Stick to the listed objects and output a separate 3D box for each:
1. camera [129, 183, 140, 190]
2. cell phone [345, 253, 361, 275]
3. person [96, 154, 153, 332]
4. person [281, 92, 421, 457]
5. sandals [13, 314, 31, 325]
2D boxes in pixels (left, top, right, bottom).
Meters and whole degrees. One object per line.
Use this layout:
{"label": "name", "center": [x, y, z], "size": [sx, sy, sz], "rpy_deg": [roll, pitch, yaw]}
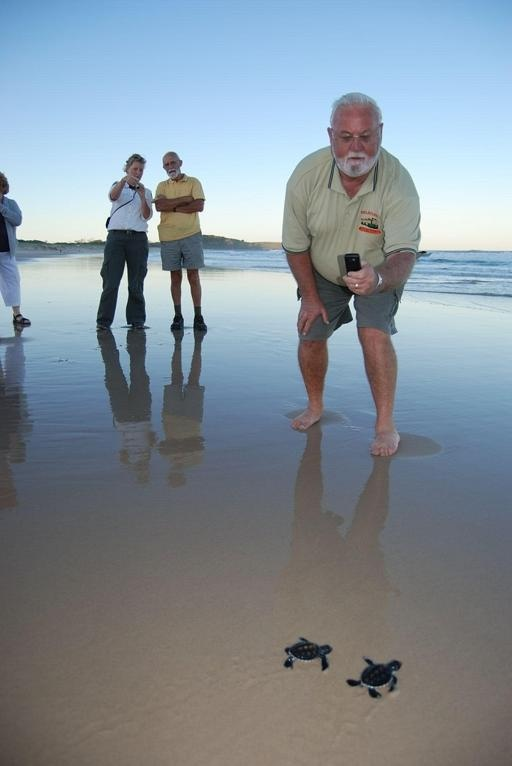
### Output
{"label": "camera", "center": [-1.219, -1.980, 6.139], "size": [0.084, 0.035, 0.070], "rpy_deg": [5, 6, -5]}
{"label": "cell phone", "center": [0.394, -0.485, 2.487], "size": [0.075, 0.077, 0.064], "rpy_deg": [6, 15, 21]}
{"label": "person", "center": [-1.321, -1.448, 6.221], "size": [0.560, 1.773, 0.595], "rpy_deg": [1, 5, -21]}
{"label": "person", "center": [0.452, -0.514, 2.883], "size": [0.566, 1.537, 0.856], "rpy_deg": [-3, 14, -13]}
{"label": "sandals", "center": [-2.433, -0.659, 6.348], "size": [0.100, 0.090, 0.231], "rpy_deg": [-8, 11, -40]}
